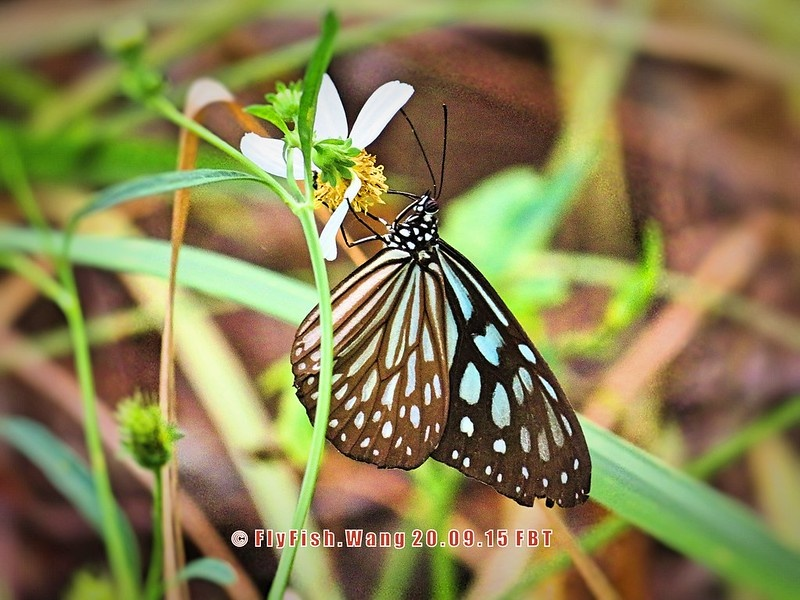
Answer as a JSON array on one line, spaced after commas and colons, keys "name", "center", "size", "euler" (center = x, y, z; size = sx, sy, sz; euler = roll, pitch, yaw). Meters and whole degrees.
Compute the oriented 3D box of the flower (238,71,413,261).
[{"name": "flower", "center": [-0.097, -0.205, 1.063], "size": [0.243, 0.126, 0.265], "euler": [15, 79, -12]}]
